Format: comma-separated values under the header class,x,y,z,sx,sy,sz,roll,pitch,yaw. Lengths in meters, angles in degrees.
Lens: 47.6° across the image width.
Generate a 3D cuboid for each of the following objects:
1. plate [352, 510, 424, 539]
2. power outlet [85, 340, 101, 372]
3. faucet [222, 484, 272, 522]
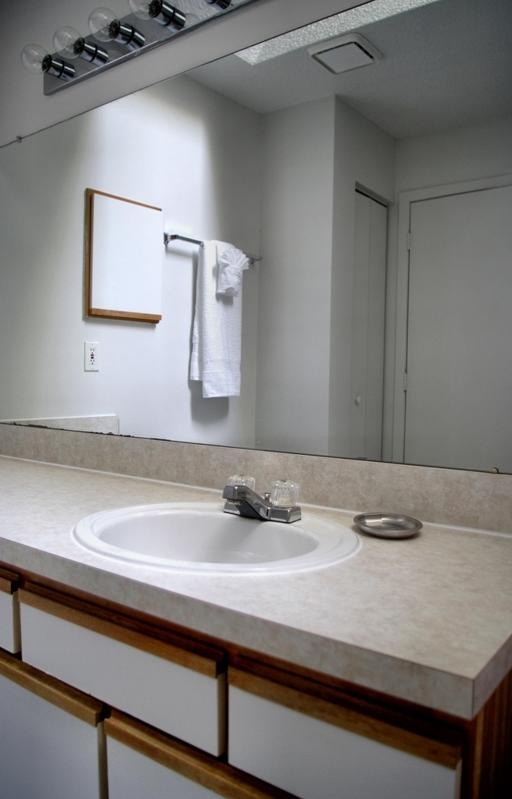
class,x,y,z,sx,sy,sz,roll,pitch,yaw
plate,0.222,0.218,0.995,0.117,0.023,0.121,0,1,21
power outlet,-0.467,-0.128,1.670,0.069,0.140,0.013,5,7,37
faucet,-0.017,0.189,1.080,0.057,0.060,0.083,-1,-2,41
